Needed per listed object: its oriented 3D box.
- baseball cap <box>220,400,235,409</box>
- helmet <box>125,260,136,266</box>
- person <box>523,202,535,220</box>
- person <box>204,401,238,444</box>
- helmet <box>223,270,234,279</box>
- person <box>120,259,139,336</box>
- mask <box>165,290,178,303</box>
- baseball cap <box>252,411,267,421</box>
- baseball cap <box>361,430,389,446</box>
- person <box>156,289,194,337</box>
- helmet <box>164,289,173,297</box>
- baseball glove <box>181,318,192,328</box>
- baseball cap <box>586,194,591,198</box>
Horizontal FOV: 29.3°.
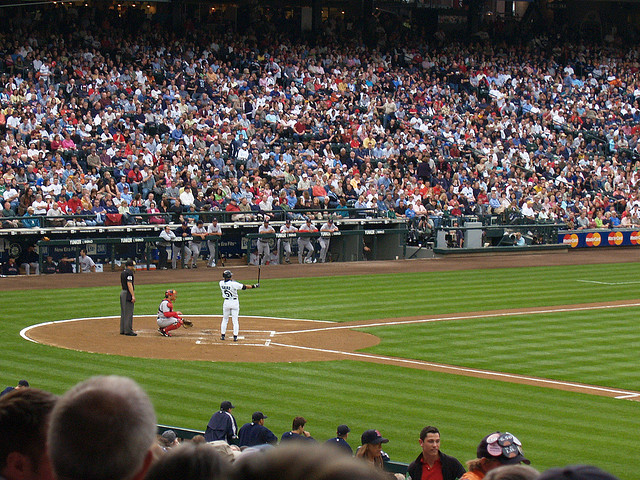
[{"bbox_3d":[-2.191,3.708,27.678,0.231,0.221,0.521,1,5,-1],"label":"baseball cap"},{"bbox_3d":[-5.617,0.631,35.601,0.318,0.234,0.444,1,-4,-2],"label":"helmet"},{"bbox_3d":[9.091,-1.280,53.812,0.523,0.519,0.754,5,39,6],"label":"person"},{"bbox_3d":[-2.272,4.048,27.279,0.736,0.835,0.689,1,5,-5],"label":"person"},{"bbox_3d":[-2.718,0.961,35.079,0.295,0.224,0.219,6,-5,-38],"label":"helmet"},{"bbox_3d":[-5.665,1.671,35.652,0.508,2.177,1.058,0,5,-10],"label":"person"},{"bbox_3d":[-4.448,1.598,36.002,0.483,0.462,0.419,1,1,-9],"label":"mask"},{"bbox_3d":[-1.430,3.884,27.063,0.243,0.206,0.260,0,5,-10],"label":"baseball cap"},{"bbox_3d":[1.041,3.993,24.835,0.457,0.232,0.293,-1,3,1],"label":"baseball cap"},{"bbox_3d":[-4.380,2.133,36.088,1.065,1.407,0.903,2,0,-16],"label":"person"},{"bbox_3d":[-4.710,1.596,37.248,0.242,0.284,0.308,2,15,-3],"label":"helmet"},{"bbox_3d":[-4.053,2.441,36.347,0.271,0.341,0.779,1,5,-3],"label":"baseball glove"},{"bbox_3d":[12.308,-2.056,56.583,0.271,0.138,0.370,0,-3,5],"label":"baseball cap"}]
